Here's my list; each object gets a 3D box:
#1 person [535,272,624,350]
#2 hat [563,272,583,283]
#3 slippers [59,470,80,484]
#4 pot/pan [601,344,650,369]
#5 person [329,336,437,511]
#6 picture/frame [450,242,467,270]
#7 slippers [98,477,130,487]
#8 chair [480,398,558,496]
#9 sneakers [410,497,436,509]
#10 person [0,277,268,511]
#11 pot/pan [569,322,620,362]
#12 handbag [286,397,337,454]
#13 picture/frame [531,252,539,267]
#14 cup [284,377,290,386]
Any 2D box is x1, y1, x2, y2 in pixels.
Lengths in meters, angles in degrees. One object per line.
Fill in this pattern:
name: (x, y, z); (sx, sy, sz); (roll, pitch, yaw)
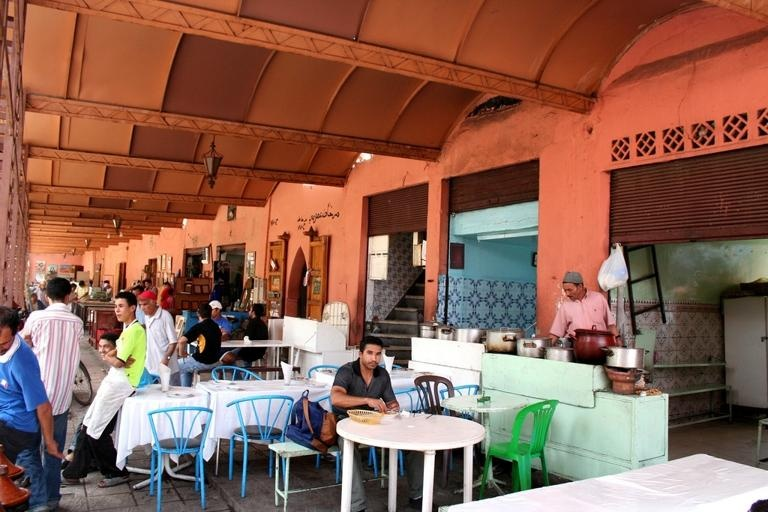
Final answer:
person: (2.935, 0.794, 8.076); (0.802, 1.240, 0.442); (-17, 11, 29)
hat: (2.731, 0.302, 7.927); (0.222, 0.123, 0.157); (3, -3, -23)
slippers: (-3.831, 2.744, 6.815); (0.286, 0.129, 0.120); (9, -7, -18)
pot/pan: (2.963, 1.245, 6.771); (0.442, 0.261, 0.278); (0, -6, 20)
person: (-0.073, 1.943, 6.478); (1.102, 1.978, 0.873); (3, -6, -9)
picture/frame: (1.492, -0.030, 11.067); (0.559, 0.742, 0.077); (1, -4, -27)
slippers: (-3.364, 2.787, 6.860); (0.328, 0.091, 0.118); (8, -8, -39)
chair: (1.658, 2.351, 6.703); (0.769, 1.186, 0.743); (-5, -9, 39)
sneakers: (0.459, 2.905, 6.450); (0.347, 0.112, 0.297); (1, -6, 4)
person: (-3.307, 1.898, 7.541); (2.590, 0.996, 0.787); (-19, -6, -7)
pot/pan: (2.731, 1.108, 7.094); (0.554, 0.376, 0.441); (2, -8, -8)
handbag: (-0.850, 1.927, 6.493); (0.656, 0.627, 0.487); (5, -2, 18)
picture/frame: (3.128, 0.051, 11.405); (0.032, 0.230, 0.320); (5, 6, 40)
cup: (-1.354, 1.759, 7.741); (0.087, 0.089, 0.090); (-1, -18, 0)
